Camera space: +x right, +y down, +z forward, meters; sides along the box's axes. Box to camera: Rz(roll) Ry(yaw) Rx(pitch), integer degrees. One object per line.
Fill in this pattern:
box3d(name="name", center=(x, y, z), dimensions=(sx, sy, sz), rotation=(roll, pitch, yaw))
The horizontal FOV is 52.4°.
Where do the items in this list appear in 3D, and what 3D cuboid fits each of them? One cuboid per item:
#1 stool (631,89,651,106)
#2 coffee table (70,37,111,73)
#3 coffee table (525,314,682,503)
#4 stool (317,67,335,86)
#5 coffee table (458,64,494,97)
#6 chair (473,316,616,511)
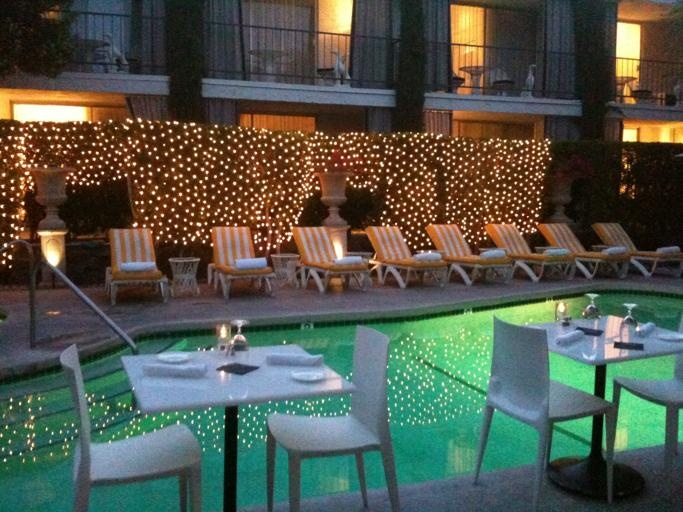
box3d(name="stool", center=(7.660, -4.049, 17.663), dimensions=(0.445, 0.358, 1.640), rotation=(4, 14, 22))
box3d(name="coffee table", center=(-5.175, -4.148, 14.212), dimensions=(0.706, 0.736, 1.271), rotation=(-9, 15, -32))
box3d(name="coffee table", center=(2.126, 1.156, 5.453), dimensions=(1.091, 1.277, 1.173), rotation=(-1, 3, -19))
box3d(name="stool", center=(-0.342, -4.077, 15.790), dimensions=(0.351, 0.481, 0.614), rotation=(-11, 20, -31))
box3d(name="coffee table", center=(3.272, -4.418, 17.032), dimensions=(0.863, 0.746, 0.932), rotation=(-4, 10, -18))
box3d(name="chair", center=(1.489, 1.115, 5.185), dimensions=(0.915, 1.279, 0.708), rotation=(-11, 15, -38))
